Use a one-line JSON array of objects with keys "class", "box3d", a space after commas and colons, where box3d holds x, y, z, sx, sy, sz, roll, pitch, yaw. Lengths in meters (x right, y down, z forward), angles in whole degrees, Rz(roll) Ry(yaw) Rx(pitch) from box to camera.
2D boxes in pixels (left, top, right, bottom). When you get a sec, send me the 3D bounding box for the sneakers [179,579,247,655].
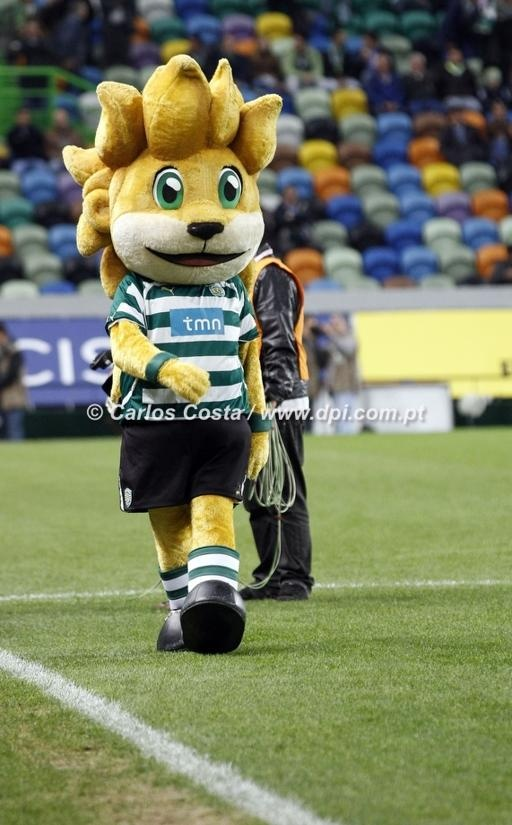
[{"class": "sneakers", "box3d": [-0.106, 0.510, 3.132, 0.156, 0.191, 0.148, -3, 3, 4]}]
